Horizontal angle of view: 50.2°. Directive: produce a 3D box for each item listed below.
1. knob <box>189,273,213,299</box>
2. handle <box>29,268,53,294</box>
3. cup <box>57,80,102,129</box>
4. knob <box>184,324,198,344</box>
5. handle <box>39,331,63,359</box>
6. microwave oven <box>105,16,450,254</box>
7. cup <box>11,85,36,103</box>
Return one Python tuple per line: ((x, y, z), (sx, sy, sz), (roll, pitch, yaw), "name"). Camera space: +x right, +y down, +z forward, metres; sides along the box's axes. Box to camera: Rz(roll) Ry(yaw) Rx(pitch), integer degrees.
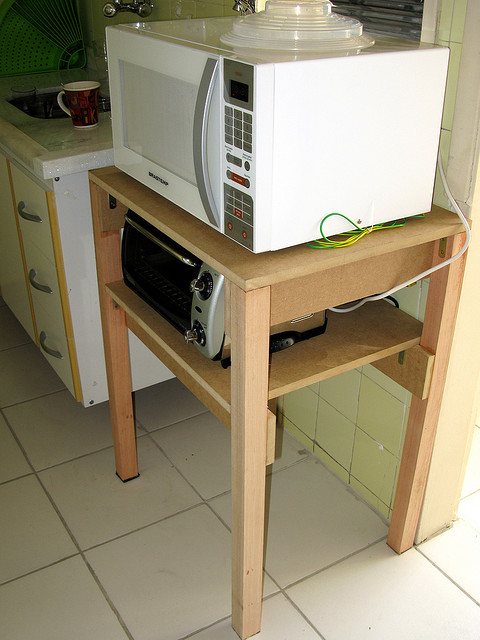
((-0.059, -0.055, 0.826), (0.018, 0.049, 0.051), (-27, 42, -35), "knob")
((-0.613, -0.121, 1.597), (0.114, 0.065, 0.034), (34, 33, 27), "handle")
((-0.461, -0.622, 1.482), (0.107, 0.123, 0.147), (-15, 36, -21), "cup")
((-0.086, 0.025, 0.898), (0.022, 0.032, 0.012), (2, 2, 30), "knob")
((-0.634, 0.085, 1.700), (0.094, 0.089, 0.023), (13, 3, 35), "handle")
((0.030, -0.342, 0.877), (0.367, 0.267, 0.512), (-14, 35, -22), "microwave oven")
((-0.785, -0.827, 1.871), (0.079, 0.049, 0.083), (6, 47, -6), "cup")
